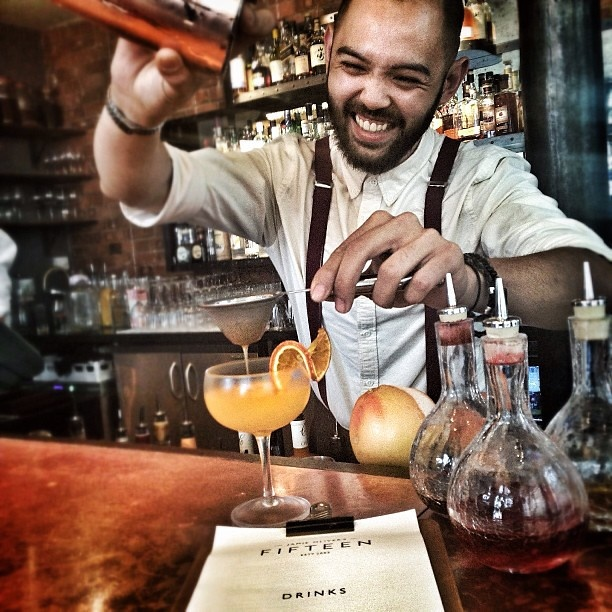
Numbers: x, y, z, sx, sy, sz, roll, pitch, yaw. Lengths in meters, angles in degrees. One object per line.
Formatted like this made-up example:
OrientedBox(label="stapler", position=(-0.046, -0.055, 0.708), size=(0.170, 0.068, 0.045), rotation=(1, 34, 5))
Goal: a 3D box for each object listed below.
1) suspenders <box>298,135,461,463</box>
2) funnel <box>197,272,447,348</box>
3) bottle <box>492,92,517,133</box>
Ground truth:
OrientedBox(label="suspenders", position=(0.240, 0.013, 1.685), size=(0.402, 1.019, 0.427), rotation=(9, 14, 28))
OrientedBox(label="funnel", position=(-0.008, 0.018, 1.050), size=(0.388, 0.119, 0.145), rotation=(-2, 14, 2))
OrientedBox(label="bottle", position=(0.985, -0.940, 2.628), size=(0.104, 0.195, 0.093), rotation=(-16, 15, -34))
